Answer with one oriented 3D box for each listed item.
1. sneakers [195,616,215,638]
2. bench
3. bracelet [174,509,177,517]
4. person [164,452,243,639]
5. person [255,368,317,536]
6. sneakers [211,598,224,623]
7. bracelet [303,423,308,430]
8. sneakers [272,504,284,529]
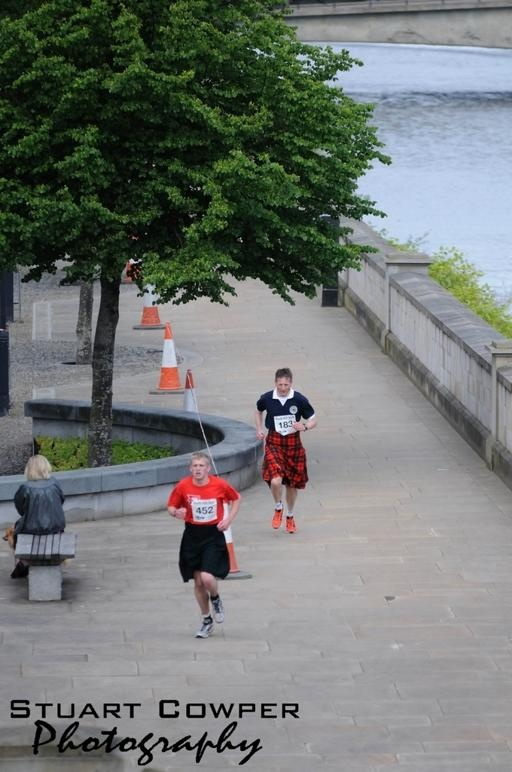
[{"bbox_3d":[-0.329,1.592,9.810,0.066,0.120,0.182,8,9,18],"label":"sneakers"},{"bbox_3d":[-1.530,1.325,10.664,0.428,0.412,0.498,-1,9,-7],"label":"bench"},{"bbox_3d":[-0.526,0.856,9.778,0.032,0.034,0.036,0,3,-5],"label":"bracelet"},{"bbox_3d":[-0.321,1.043,9.875,0.506,1.215,0.438,-3,9,-20],"label":"person"},{"bbox_3d":[0.278,0.561,12.851,0.509,1.398,0.519,0,9,-1],"label":"person"},{"bbox_3d":[-0.244,1.515,9.960,0.071,0.199,0.080,-7,-4,-1],"label":"sneakers"},{"bbox_3d":[0.459,0.368,12.700,0.038,0.052,0.049,1,6,-5],"label":"bracelet"},{"bbox_3d":[0.203,1.153,12.869,0.079,0.225,0.090,2,-14,15],"label":"sneakers"}]
